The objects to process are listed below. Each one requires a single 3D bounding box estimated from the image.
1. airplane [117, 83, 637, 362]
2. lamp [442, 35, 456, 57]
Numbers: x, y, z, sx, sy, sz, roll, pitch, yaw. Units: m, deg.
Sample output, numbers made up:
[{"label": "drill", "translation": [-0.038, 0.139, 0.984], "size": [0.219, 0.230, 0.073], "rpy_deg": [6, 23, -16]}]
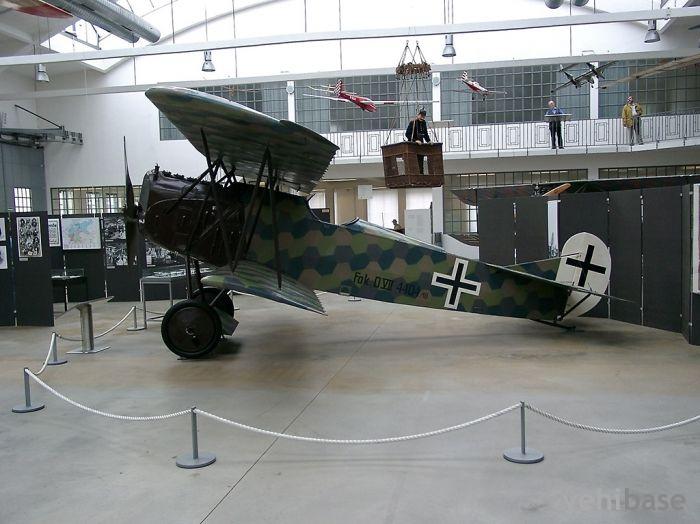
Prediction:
[{"label": "airplane", "translation": [-0.301, -0.377, 11.367], "size": [5.016, 2.350, 5.953], "rpy_deg": [2, 0, -3]}, {"label": "lamp", "translation": [2.474, -5.447, 18.146], "size": [0.304, 0.579, 0.911], "rpy_deg": [0, 8, 8]}]
